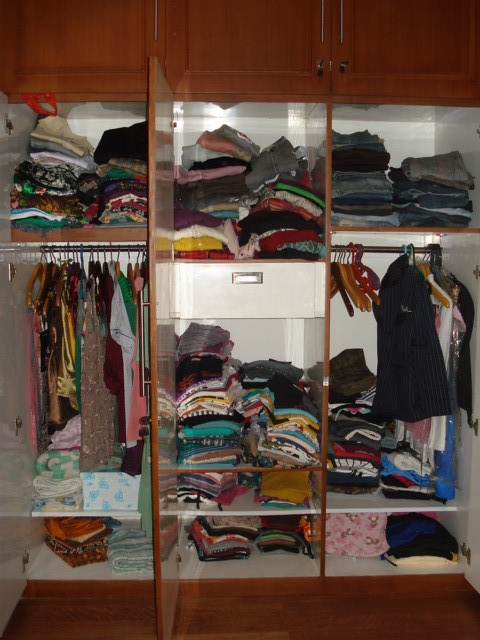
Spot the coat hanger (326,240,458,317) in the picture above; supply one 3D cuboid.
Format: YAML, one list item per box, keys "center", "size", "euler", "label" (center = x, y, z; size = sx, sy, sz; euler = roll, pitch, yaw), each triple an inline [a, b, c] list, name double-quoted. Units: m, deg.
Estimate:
- center: [0.658, -0.190, 2.744]
  size: [0.428, 0.367, 0.176]
  euler: [1, -22, -2]
  label: "coat hanger"

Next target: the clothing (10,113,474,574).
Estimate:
- center: [-0.013, 0.139, 2.541]
  size: [1.753, 1.889, 0.622]
  euler: [-1, 9, 0]
  label: "clothing"
